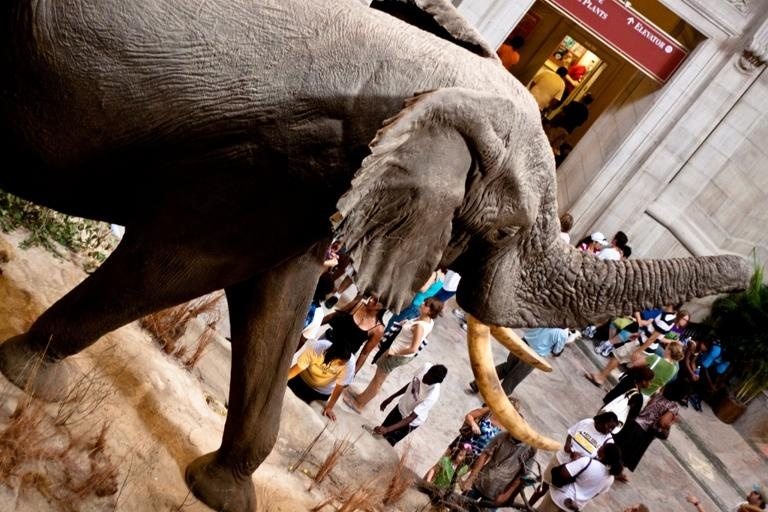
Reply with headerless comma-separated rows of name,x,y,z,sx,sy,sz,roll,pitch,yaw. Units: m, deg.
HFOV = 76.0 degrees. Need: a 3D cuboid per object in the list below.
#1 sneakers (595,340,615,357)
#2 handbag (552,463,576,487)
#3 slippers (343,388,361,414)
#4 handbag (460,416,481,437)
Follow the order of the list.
sneakers,4.941,2.079,10.973,0.267,0.206,0.513,38,24,16
handbag,2.044,2.571,5.678,0.259,0.253,0.210,-10,9,-11
slippers,-0.428,1.908,6.369,0.170,0.102,0.313,-26,79,-44
handbag,1.047,2.082,5.927,0.091,0.215,0.203,49,-19,-30
